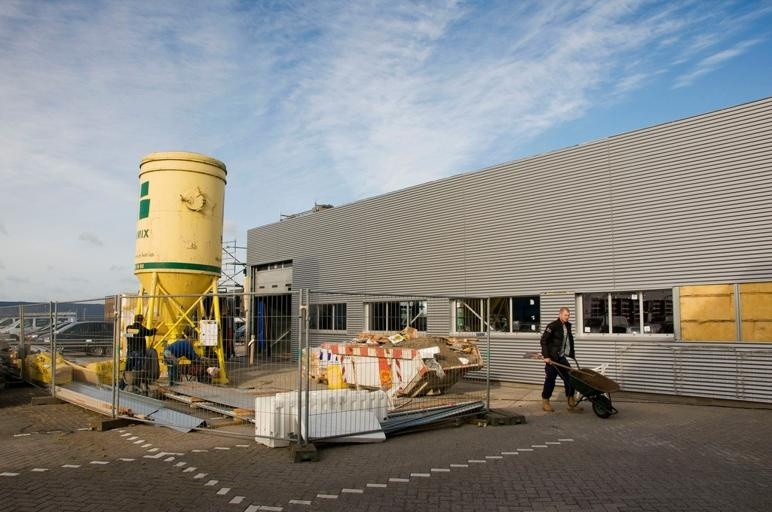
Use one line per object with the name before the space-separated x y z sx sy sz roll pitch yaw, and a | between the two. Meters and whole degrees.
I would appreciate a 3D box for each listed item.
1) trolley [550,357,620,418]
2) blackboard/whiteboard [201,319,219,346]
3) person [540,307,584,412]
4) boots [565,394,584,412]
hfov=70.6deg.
trolley | 4.901 3.264 13.188 1.118 1.248 1.394 -1 3 -24
blackboard/whiteboard | -4.016 1.775 12.420 0.368 0.649 0.632 -1 4 -19
person | 4.385 2.629 13.960 1.260 2.455 0.802 3 -7 -26
boots | 4.901 3.738 13.947 0.578 0.442 0.311 -2 1 -8
